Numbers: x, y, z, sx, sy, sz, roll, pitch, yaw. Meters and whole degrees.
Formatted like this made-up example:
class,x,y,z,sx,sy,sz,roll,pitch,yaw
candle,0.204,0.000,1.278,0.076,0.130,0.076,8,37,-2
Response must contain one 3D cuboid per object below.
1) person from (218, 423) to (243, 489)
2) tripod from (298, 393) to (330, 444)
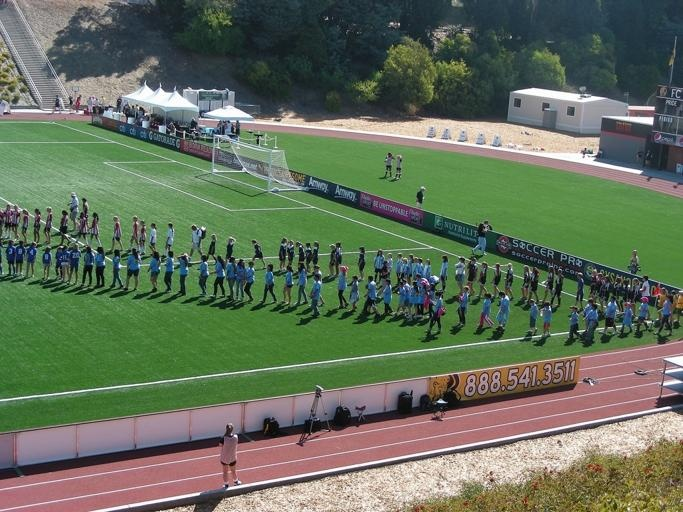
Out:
class,x,y,z,sx,sy,sz,roll,pitch,yaw
person,-5.287,9.442,60.763,0.986,3.042,1.114,-2,14,-12
tripod,-1.386,7.924,64.253,0.984,2.403,1.888,10,16,32
